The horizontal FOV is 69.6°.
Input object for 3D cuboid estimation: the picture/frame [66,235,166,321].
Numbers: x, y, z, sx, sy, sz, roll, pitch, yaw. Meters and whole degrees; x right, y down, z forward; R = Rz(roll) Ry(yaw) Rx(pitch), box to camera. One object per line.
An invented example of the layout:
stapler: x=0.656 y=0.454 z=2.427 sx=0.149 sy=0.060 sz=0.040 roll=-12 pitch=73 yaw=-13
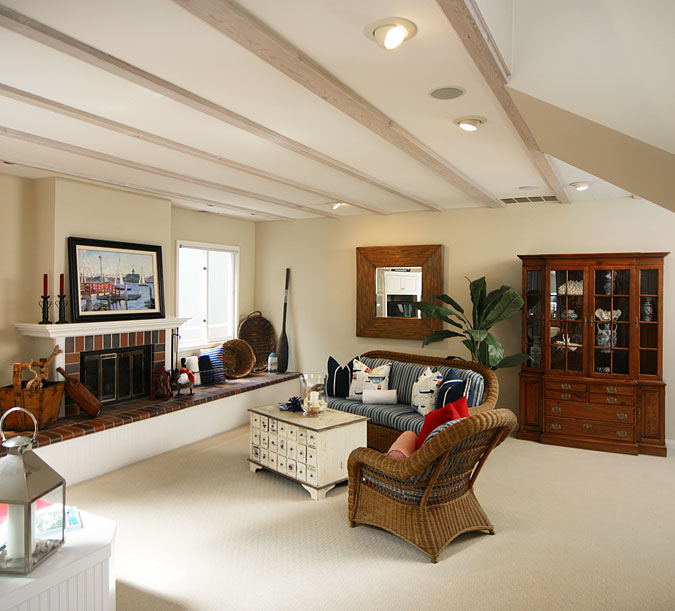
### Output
picture/frame: x=-2.301 y=-0.274 z=4.966 sx=0.038 sy=0.706 sz=1.007 roll=-2 pitch=0 yaw=34

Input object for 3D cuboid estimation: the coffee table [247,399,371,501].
coffee table: x=-0.194 y=1.083 z=4.301 sx=0.642 sy=0.550 sz=1.041 roll=2 pitch=-2 yaw=-43

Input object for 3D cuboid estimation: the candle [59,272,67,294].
candle: x=-2.575 y=-0.193 z=4.558 sx=0.054 sy=0.224 sz=0.208 roll=-1 pitch=2 yaw=-29

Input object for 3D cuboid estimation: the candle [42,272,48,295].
candle: x=-2.704 y=-0.192 z=4.511 sx=0.055 sy=0.222 sz=0.263 roll=-1 pitch=2 yaw=-32

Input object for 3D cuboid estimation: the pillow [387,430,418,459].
pillow: x=0.454 y=0.998 z=3.423 sx=0.125 sy=0.124 sz=0.225 roll=0 pitch=-2 yaw=20

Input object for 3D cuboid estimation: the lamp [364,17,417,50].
lamp: x=0.220 y=-1.084 z=1.926 sx=0.107 sy=0.039 sz=0.103 roll=1 pitch=-4 yaw=-13

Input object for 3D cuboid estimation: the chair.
chair: x=0.704 y=1.142 z=3.424 sx=0.882 sy=0.962 sz=1.101 roll=2 pitch=-5 yaw=-36

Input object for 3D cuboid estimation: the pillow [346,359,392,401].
pillow: x=0.342 y=0.842 z=5.278 sx=0.396 sy=0.369 sz=0.152 roll=-1 pitch=-36 yaw=15

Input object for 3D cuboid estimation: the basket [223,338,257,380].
basket: x=-1.378 y=0.756 z=6.674 sx=0.489 sy=0.472 sz=0.324 roll=24 pitch=-23 yaw=-33

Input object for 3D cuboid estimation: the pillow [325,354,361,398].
pillow: x=0.062 y=0.831 z=5.495 sx=0.461 sy=0.529 sz=0.211 roll=0 pitch=-9 yaw=25
